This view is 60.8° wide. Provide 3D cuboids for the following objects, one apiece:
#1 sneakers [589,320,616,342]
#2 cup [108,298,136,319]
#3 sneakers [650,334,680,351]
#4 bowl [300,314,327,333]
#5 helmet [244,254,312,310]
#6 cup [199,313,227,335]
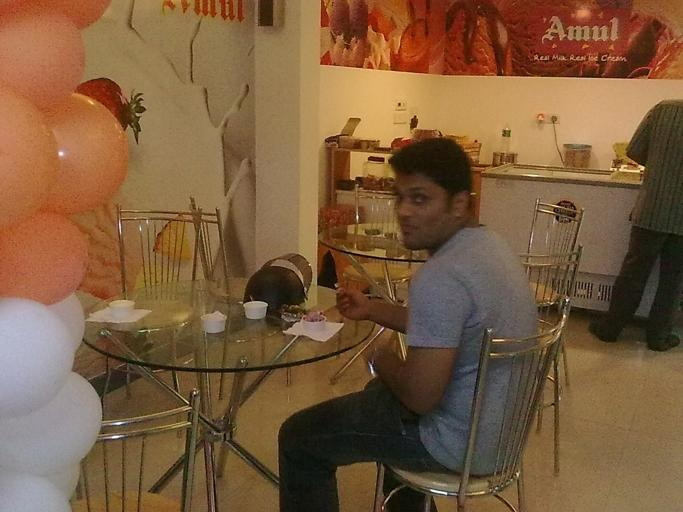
[{"bbox_3d":[1.904,0.539,4.304,0.075,0.141,0.207,-7,26,-6],"label":"sneakers"},{"bbox_3d":[-0.856,0.205,2.263,0.076,0.038,0.077,0,-2,0],"label":"cup"},{"bbox_3d":[2.290,0.611,4.119,0.172,0.068,0.128,-5,-3,-8],"label":"sneakers"},{"bbox_3d":[-0.103,0.242,2.145,0.072,0.043,0.071,0,6,0],"label":"bowl"},{"bbox_3d":[-0.250,0.112,2.479,0.202,0.187,0.287,5,-4,18],"label":"helmet"},{"bbox_3d":[-0.475,0.242,2.150,0.073,0.047,0.075,0,12,0],"label":"cup"}]
